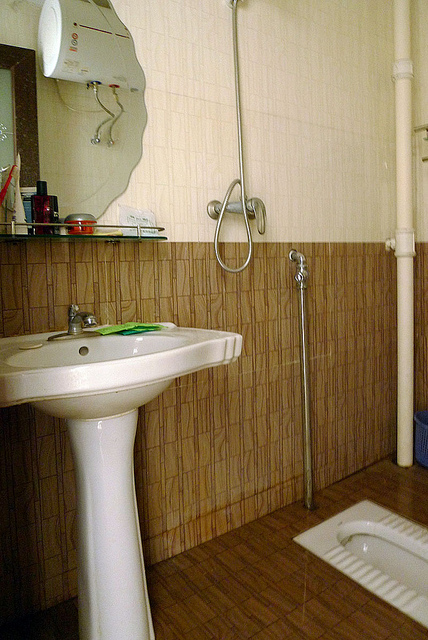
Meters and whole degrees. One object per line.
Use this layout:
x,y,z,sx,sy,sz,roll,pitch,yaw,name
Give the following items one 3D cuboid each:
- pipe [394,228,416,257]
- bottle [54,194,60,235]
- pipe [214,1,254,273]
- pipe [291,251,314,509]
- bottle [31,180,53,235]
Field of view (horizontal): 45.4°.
0.858,-0.349,2.346,0.081,0.188,0.102,-1,2,-14,pipe
-0.391,-0.267,1.283,0.011,0.100,0.047,-2,5,-14,bottle
0.055,-0.582,1.644,0.119,0.854,0.213,-1,4,0,pipe
0.334,0.222,1.945,0.081,0.954,0.191,0,4,12,pipe
-0.413,-0.288,1.255,0.060,0.046,0.171,-22,-24,-27,bottle
